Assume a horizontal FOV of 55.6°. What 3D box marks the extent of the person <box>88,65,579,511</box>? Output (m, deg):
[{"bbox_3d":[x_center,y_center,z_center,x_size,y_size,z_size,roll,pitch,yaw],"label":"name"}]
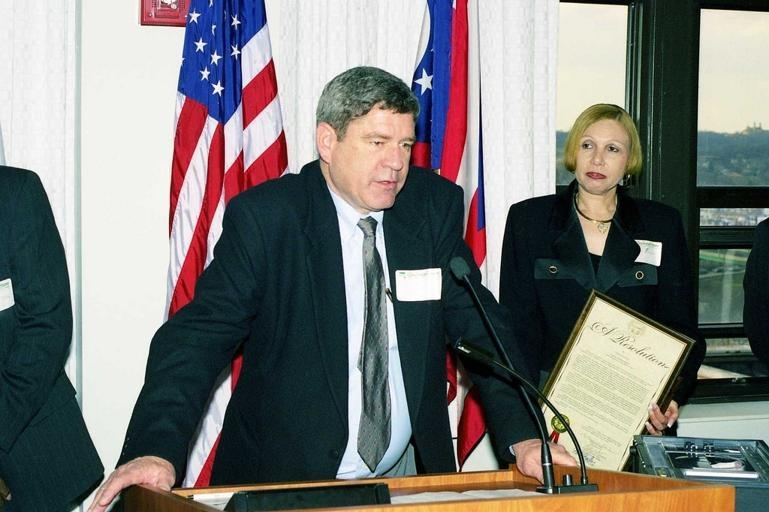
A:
[{"bbox_3d":[-0.241,0.116,2.801,1.454,1.652,0.608,-5,10,-22],"label":"person"}]
